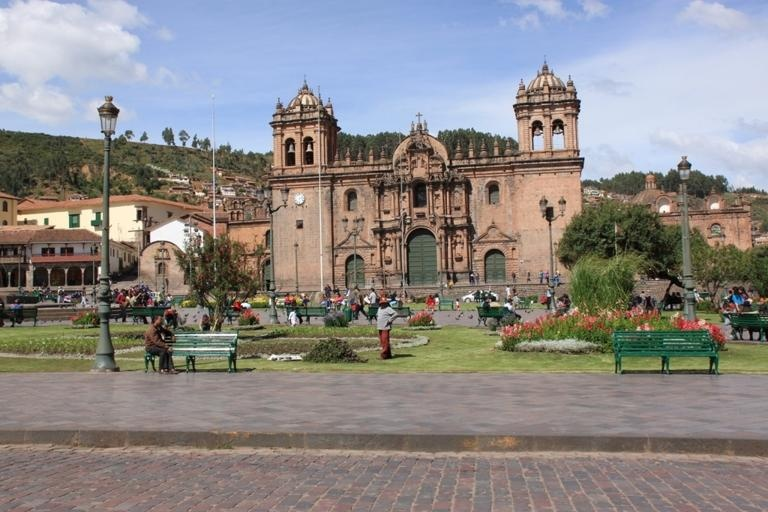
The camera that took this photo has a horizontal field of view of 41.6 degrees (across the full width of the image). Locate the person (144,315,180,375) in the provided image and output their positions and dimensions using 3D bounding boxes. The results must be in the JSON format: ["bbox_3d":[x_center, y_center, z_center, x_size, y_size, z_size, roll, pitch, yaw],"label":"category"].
[{"bbox_3d":[-6.997,2.765,31.745,0.913,1.721,0.497,-2,-4,20],"label":"person"}]

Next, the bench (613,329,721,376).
[{"bbox_3d":[8.495,2.864,30.481,2.984,1.303,1.101,-1,-4,12],"label":"bench"}]
